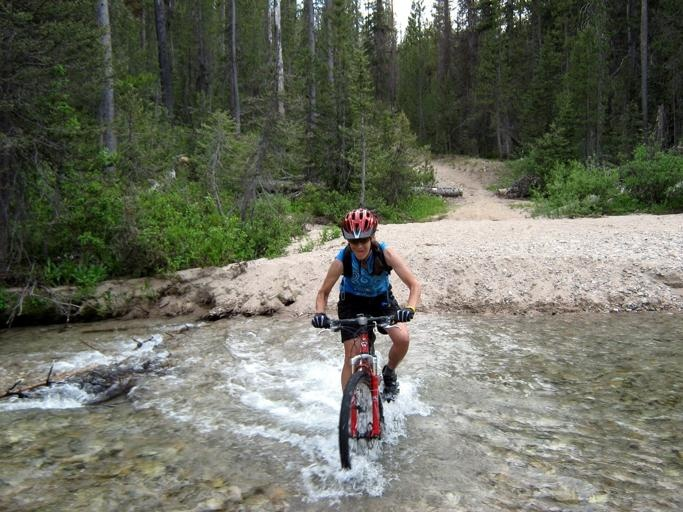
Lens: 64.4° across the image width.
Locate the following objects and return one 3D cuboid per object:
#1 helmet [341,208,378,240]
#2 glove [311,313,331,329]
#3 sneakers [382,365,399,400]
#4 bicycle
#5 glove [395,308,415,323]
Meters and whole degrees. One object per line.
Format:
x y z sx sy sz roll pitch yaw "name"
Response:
0.283 -0.545 8.384 0.336 0.267 0.551 -2 29 11 "helmet"
-0.325 1.000 8.189 0.188 0.105 0.274 2 13 -5 "glove"
0.805 2.135 9.077 0.206 0.606 0.252 -7 -11 25 "sneakers"
0.330 1.964 8.261 1.090 2.322 0.691 -5 9 -26 "bicycle"
0.945 0.911 8.188 0.273 0.269 0.300 2 9 19 "glove"
